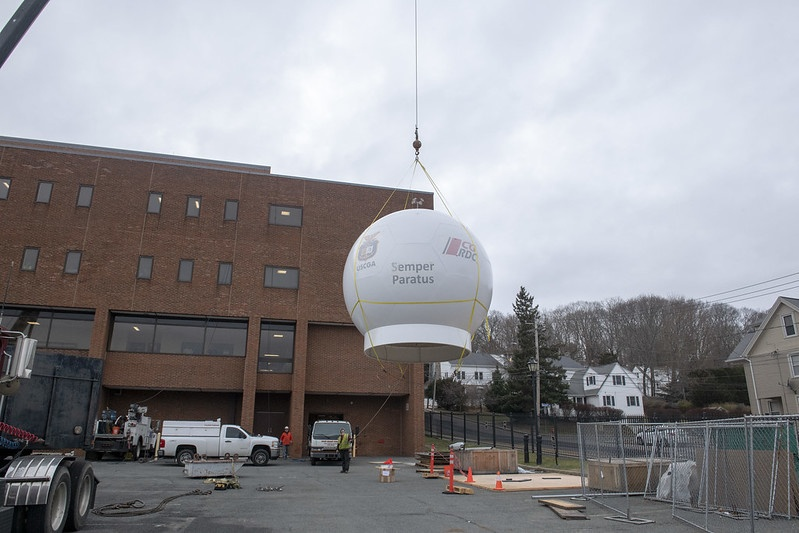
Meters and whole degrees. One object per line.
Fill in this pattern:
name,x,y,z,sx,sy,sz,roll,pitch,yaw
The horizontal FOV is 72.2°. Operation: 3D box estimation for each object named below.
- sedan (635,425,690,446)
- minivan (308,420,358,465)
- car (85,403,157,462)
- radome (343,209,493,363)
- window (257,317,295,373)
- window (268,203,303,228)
sedan,8.799,5.745,18.523,1.474,0.667,5.301,-6,-18,22
minivan,-3.818,9.507,29.015,1.668,1.457,2.707,2,-37,-7
car,-14.268,8.545,28.184,2.214,2.274,3.817,0,-9,-1
radome,0.569,0.433,17.165,4.708,4.518,4.390,2,-12,-5
window,-7.531,4.821,33.258,3.108,4.426,0.266,2,-16,-12
window,-7.228,-3.203,34.344,1.478,1.107,0.147,2,-19,-14
